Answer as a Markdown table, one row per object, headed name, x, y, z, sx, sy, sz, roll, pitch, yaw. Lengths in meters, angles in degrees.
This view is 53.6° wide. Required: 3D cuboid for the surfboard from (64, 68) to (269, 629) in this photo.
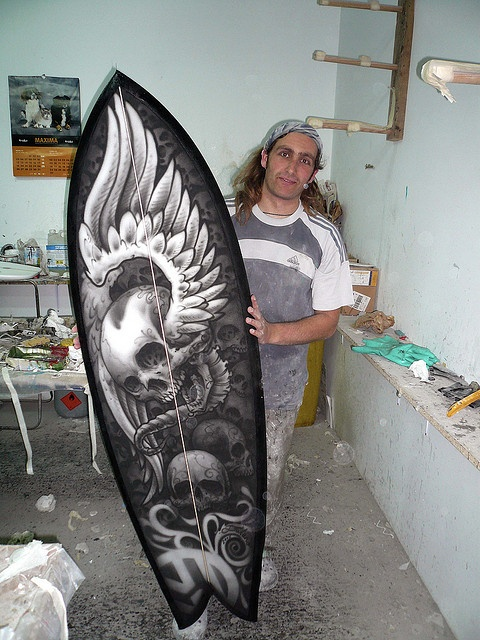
| name | x | y | z | sx | sy | sz | roll | pitch | yaw |
| --- | --- | --- | --- | --- | --- | --- | --- | --- | --- |
| surfboard | -0.179 | 0.153 | 1.252 | 0.496 | 1.482 | 0.147 | 2 | 13 | 12 |
